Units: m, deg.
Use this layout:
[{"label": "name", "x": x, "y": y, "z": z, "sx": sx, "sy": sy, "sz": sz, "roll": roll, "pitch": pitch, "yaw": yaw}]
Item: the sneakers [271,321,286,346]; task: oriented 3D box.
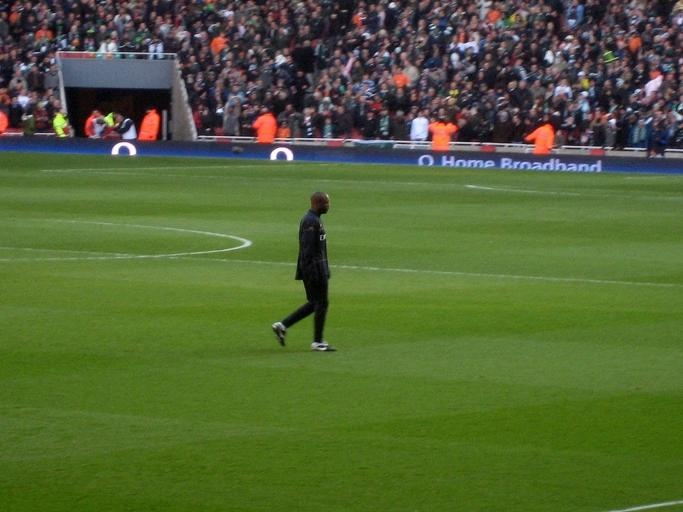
[{"label": "sneakers", "x": -0.950, "y": 1.307, "z": 28.577, "sx": 0.173, "sy": 0.430, "sz": 0.200, "roll": -24, "pitch": 16, "yaw": -4}]

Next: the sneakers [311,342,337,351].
[{"label": "sneakers", "x": -0.256, "y": 1.504, "z": 28.813, "sx": 0.431, "sy": 0.147, "sz": 0.145, "roll": 2, "pitch": 7, "yaw": -7}]

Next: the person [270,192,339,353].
[{"label": "person", "x": -0.470, "y": 0.261, "z": 28.529, "sx": 0.935, "sy": 2.618, "sz": 0.454, "roll": 3, "pitch": 10, "yaw": -1}]
